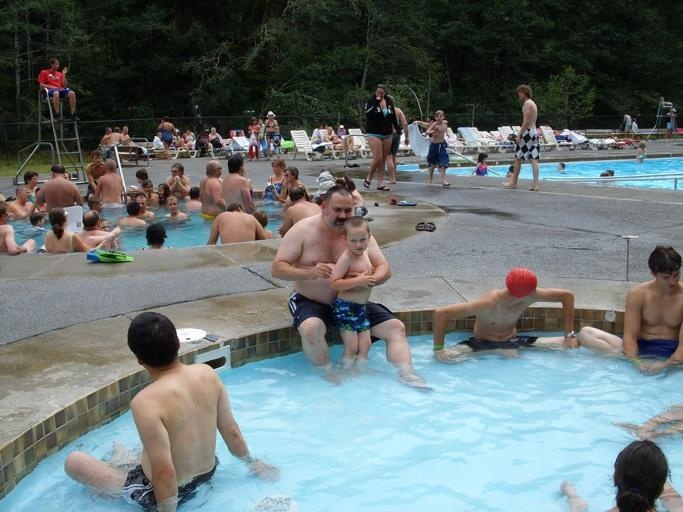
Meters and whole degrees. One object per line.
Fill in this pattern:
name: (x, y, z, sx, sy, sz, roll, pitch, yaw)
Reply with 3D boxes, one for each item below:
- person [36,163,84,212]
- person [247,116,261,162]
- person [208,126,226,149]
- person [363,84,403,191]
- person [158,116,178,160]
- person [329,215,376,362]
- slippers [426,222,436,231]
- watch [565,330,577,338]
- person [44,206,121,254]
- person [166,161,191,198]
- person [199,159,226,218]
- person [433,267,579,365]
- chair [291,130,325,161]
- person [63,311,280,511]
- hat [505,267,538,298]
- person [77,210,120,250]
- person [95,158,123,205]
person: (-5.787, -1.245, 11.286, 0.873, 1.201, 0.660, -2, 20, -28)
person: (-4.107, -5.518, 25.887, 0.744, 1.940, 1.302, -6, 9, -9)
person: (-6.078, -5.700, 26.606, 0.724, 1.086, 1.001, -6, 9, -12)
person: (0.919, -2.723, 12.919, 0.850, 2.403, 0.970, -4, 10, 7)
person: (-8.038, -5.420, 25.326, 0.796, 1.989, 0.688, -2, 6, -28)
person: (0.108, 0.293, 4.855, 0.373, 1.293, 0.373, -4, 10, 3)
slippers: (1.493, -0.478, 9.061, 0.127, 0.124, 0.171, 0, -4, 35)
watch: (2.192, 0.753, 5.251, 0.107, 0.071, 0.116, -3, -2, 23)
person: (-4.021, -0.280, 8.438, 0.815, 0.737, 1.278, 13, 5, 8)
person: (-4.139, -1.873, 14.008, 0.681, 0.908, 0.539, 3, 27, -4)
person: (-2.482, -1.305, 11.049, 0.628, 1.118, 0.835, -10, 20, -30)
person: (1.519, 0.529, 5.216, 1.380, 0.851, 0.641, -3, 9, -9)
chair: (-1.653, -5.000, 25.165, 1.248, 0.845, 2.009, -10, 30, -22)
person: (-1.142, 0.761, 3.627, 1.268, 1.073, 0.894, 16, 24, 33)
hat: (1.577, 0.216, 4.848, 0.226, 0.268, 0.269, -2, 23, 12)
person: (-3.701, -0.266, 8.682, 0.527, 0.806, 0.629, -9, 12, -8)
person: (-5.475, -1.727, 12.949, 0.620, 1.075, 0.656, -8, 10, -22)
